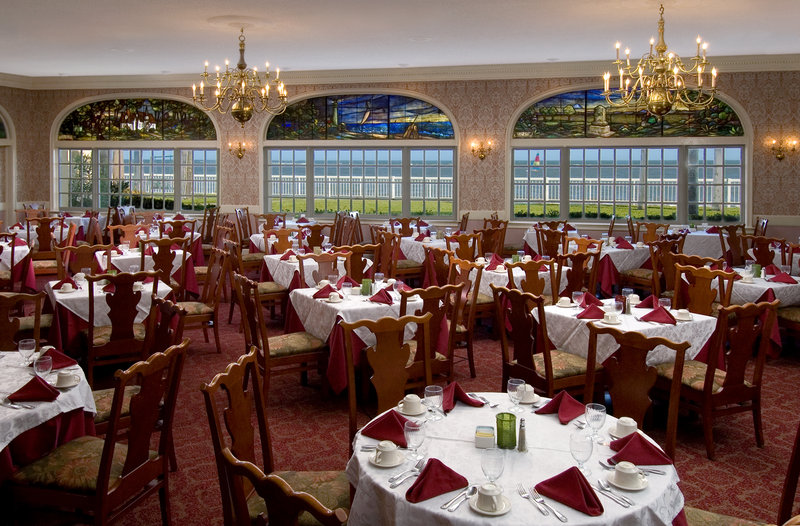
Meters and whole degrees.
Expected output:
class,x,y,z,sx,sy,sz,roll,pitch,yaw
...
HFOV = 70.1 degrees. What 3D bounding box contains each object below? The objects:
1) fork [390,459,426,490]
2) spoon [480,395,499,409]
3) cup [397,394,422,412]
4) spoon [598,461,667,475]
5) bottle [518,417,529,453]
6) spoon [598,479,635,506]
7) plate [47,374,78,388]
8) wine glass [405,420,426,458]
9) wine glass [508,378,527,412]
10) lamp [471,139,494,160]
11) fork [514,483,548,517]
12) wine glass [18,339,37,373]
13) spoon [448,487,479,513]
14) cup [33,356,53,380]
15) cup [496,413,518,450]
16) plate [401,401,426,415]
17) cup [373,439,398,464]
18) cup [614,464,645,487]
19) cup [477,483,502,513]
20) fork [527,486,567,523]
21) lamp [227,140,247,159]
class,x,y,z,sx,sy,sz,roll,pitch,yaw
fork,0.038,1.113,2.988,0.072,0.039,0.268,10,18,30
spoon,0.559,0.889,3.659,0.098,0.038,0.188,-5,5,-37
cup,0.063,0.867,3.546,0.125,0.090,0.094,-2,-1,4
spoon,1.237,1.078,2.996,0.351,0.049,0.052,2,41,22
bottle,0.689,0.959,3.220,0.052,0.167,0.124,-1,4,12
spoon,1.071,1.154,2.865,0.057,0.025,0.177,-7,8,-11
plate,-2.283,0.801,3.874,0.114,0.042,0.116,0,4,2
wine glass,0.084,0.971,3.211,0.123,0.175,0.233,-2,4,2
wine glass,0.735,0.849,3.667,0.152,0.250,0.164,0,-4,0
lamp,1.969,-2.686,13.464,0.456,0.467,0.126,-1,4,-1
fork,0.649,1.171,2.832,0.043,0.039,0.259,-22,19,-9
wine glass,-2.753,0.649,4.213,0.106,0.190,0.320,-5,5,-34
spoon,0.310,1.174,2.824,0.055,0.028,0.211,9,17,25
cup,-2.431,0.712,3.886,0.097,0.173,0.236,-5,5,-34
cup,0.602,0.940,3.239,0.118,0.195,0.126,-2,4,0
plate,0.079,0.885,3.493,0.159,0.078,0.090,-2,4,1
cup,-0.077,1.034,3.132,0.077,0.090,0.124,6,11,28
cup,1.171,1.091,2.911,0.094,0.084,0.130,1,-6,9
cup,0.434,1.141,2.764,0.082,0.089,0.136,2,7,-5
fork,0.725,1.186,2.784,0.051,0.046,0.300,-18,13,-6
lamp,-4.064,-2.844,14.280,0.435,0.500,0.263,1,-1,11
